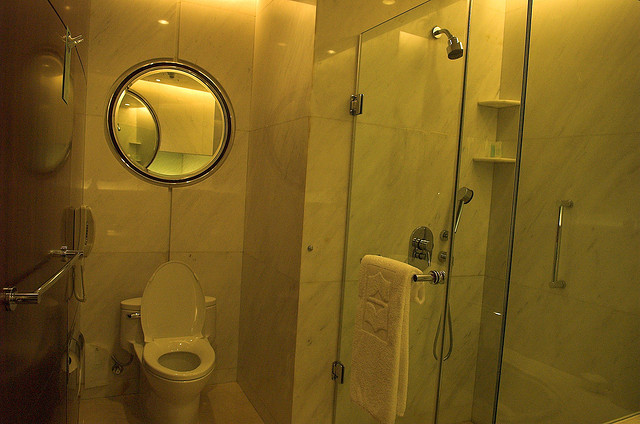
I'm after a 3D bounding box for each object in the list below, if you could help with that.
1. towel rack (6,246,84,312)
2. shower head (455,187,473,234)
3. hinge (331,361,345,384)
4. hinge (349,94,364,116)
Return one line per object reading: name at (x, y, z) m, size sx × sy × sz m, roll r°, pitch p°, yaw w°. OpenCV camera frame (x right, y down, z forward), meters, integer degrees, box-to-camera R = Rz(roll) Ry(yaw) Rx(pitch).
towel rack at (-1.042, 0.240, 2.201) m, size 0.099 × 0.148 × 0.546 m, roll 2°, pitch 7°, yaw -7°
shower head at (0.687, -0.011, 2.763) m, size 0.027 × 0.209 × 0.074 m, roll 12°, pitch 2°, yaw -39°
hinge at (0.108, 0.951, 3.441) m, size 0.027 × 0.162 × 0.130 m, roll -1°, pitch 4°, yaw -29°
hinge at (0.216, -0.631, 3.353) m, size 0.036 × 0.112 × 0.107 m, roll 2°, pitch -12°, yaw -17°
